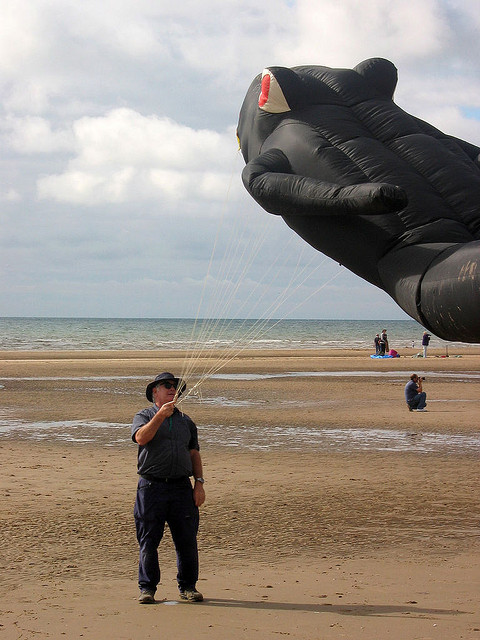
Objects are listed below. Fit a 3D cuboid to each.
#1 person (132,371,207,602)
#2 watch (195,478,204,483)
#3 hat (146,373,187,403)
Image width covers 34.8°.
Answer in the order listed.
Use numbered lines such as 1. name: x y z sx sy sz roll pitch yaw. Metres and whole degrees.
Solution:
1. person: -0.550 1.262 5.819 0.580 1.676 0.678 3 2 -7
2. watch: -0.311 1.241 5.893 0.067 0.022 0.045 -1 -23 5
3. hat: -0.604 0.545 6.004 0.242 0.258 0.467 3 2 -6
